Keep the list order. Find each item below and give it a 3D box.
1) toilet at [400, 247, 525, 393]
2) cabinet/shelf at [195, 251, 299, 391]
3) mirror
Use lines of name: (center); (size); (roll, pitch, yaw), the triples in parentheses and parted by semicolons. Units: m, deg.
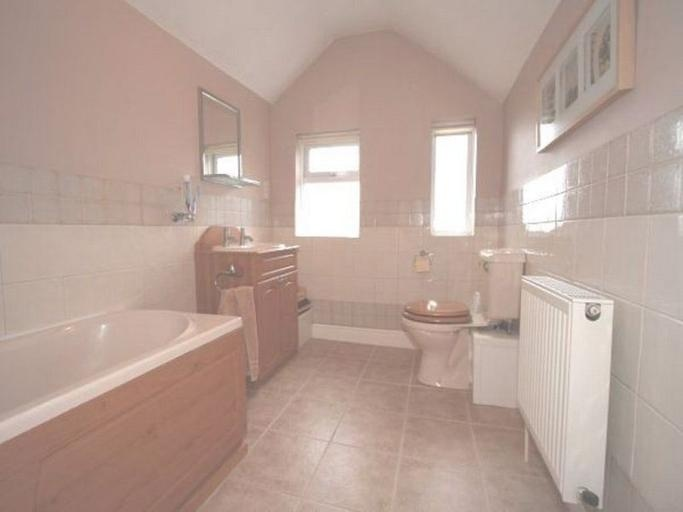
toilet: (0.840, 0.422, 3.537); (0.821, 1.031, 0.577); (3, 5, 11)
cabinet/shelf: (-0.633, 0.398, 3.709); (0.356, 0.902, 0.896); (1, 3, 15)
mirror: (-0.866, -0.880, 3.722); (0.203, 0.662, 0.667); (2, 9, 13)
